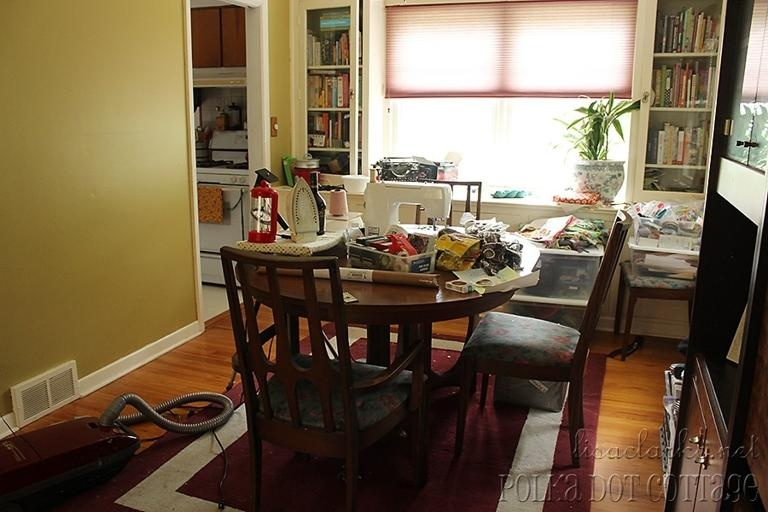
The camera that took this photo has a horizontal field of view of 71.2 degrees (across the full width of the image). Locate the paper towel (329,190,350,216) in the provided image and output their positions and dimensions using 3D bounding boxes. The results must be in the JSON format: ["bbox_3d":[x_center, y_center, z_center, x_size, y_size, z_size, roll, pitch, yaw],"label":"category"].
[{"bbox_3d":[-0.287,-0.334,3.302,0.138,0.157,0.140,3,5,34],"label":"paper towel"}]

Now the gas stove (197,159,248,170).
[{"bbox_3d":[-1.617,-0.910,5.272,0.676,0.045,0.367,8,18,25],"label":"gas stove"}]

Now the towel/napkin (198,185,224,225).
[{"bbox_3d":[-1.634,-0.487,5.036,0.319,0.321,0.098,7,5,13],"label":"towel/napkin"}]

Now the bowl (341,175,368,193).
[{"bbox_3d":[-0.248,-0.635,4.664,0.273,0.138,0.271,0,8,0],"label":"bowl"}]

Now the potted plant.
[{"bbox_3d":[1.710,-0.878,4.576,0.796,1.034,0.834,3,8,23],"label":"potted plant"}]

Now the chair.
[{"bbox_3d":[0.145,0.470,2.617,1.701,1.243,0.741,-7,17,-22],"label":"chair"}]

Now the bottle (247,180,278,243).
[{"bbox_3d":[-0.593,-0.222,2.678,0.150,0.292,0.146,4,4,0],"label":"bottle"}]

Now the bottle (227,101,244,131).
[{"bbox_3d":[-1.582,-1.500,5.705,0.219,0.276,0.141,1,16,5],"label":"bottle"}]
